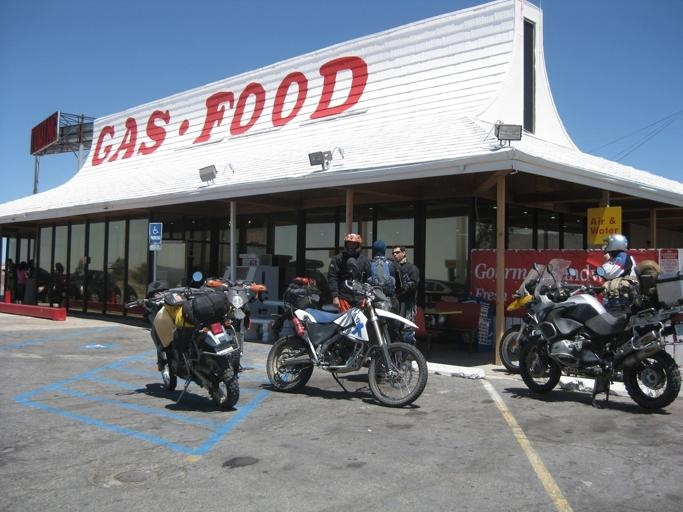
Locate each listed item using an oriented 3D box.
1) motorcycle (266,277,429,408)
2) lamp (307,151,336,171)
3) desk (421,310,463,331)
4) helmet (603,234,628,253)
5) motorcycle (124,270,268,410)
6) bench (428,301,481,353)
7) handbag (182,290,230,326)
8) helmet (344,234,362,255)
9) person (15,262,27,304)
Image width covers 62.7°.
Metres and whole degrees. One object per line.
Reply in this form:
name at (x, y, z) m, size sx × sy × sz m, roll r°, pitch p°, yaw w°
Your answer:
motorcycle at (0.061, 1.224, 8.111) m, size 2.419 × 1.730 × 0.578 m, roll 0°, pitch -2°, yaw 32°
lamp at (-0.483, -2.176, 13.002) m, size 0.479 × 0.510 × 0.695 m, roll 1°, pitch -1°, yaw 6°
desk at (2.279, 1.532, 13.311) m, size 0.577 × 0.202 × 0.904 m, roll 0°, pitch 1°, yaw 32°
helmet at (4.421, -0.190, 9.240) m, size 0.378 × 0.318 × 0.298 m, roll 7°, pitch 3°, yaw 36°
motorcycle at (-1.930, 1.197, 7.814) m, size 1.493 × 1.705 × 0.866 m, roll 0°, pitch -2°, yaw 40°
bench at (2.534, 1.590, 12.661) m, size 1.140 × 0.966 × 0.868 m, roll -1°, pitch -4°, yaw 25°
handbag at (-1.735, 0.688, 7.338) m, size 0.406 × 0.246 × 0.535 m, roll -4°, pitch 3°, yaw -34°
helmet at (0.174, -0.179, 9.135) m, size 0.266 × 0.357 × 0.438 m, roll 1°, pitch -1°, yaw -1°
person at (-13.728, 1.147, 24.268) m, size 0.401 × 1.726 × 0.620 m, roll 2°, pitch -2°, yaw -29°
